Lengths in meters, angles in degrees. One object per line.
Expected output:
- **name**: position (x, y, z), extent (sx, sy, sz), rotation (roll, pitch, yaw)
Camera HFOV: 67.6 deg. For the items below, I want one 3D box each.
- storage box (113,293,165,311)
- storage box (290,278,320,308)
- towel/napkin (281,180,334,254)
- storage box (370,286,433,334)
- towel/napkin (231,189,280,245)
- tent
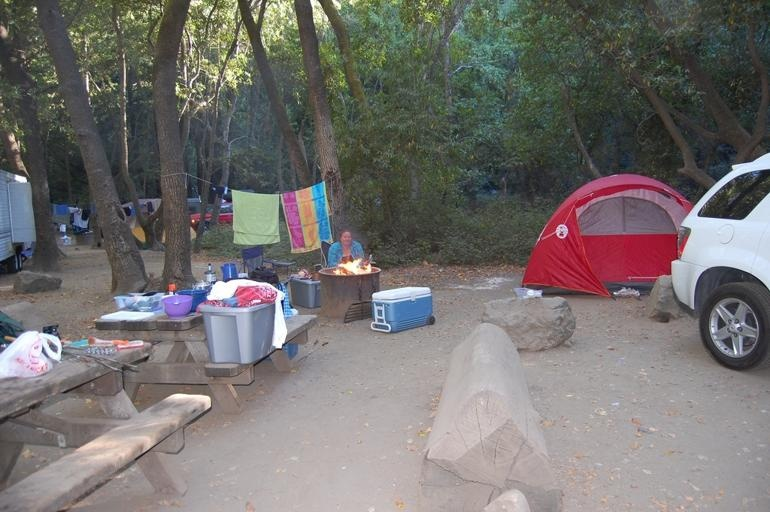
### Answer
- **storage box**: position (-3.433, 0.649, 8.002), extent (0.677, 0.237, 0.458), rotation (-7, 8, -4)
- **storage box**: position (-1.745, 0.768, 12.008), extent (0.697, 0.467, 0.482), rotation (7, 9, 44)
- **towel/napkin**: position (-2.297, -1.143, 16.927), extent (1.381, 2.001, 0.637), rotation (-3, 9, 16)
- **storage box**: position (0.340, 0.976, 10.791), extent (1.191, 0.722, 0.625), rotation (-7, 7, -39)
- **towel/napkin**: position (-4.148, -1.251, 18.385), extent (1.491, 1.795, 0.448), rotation (-8, 9, -16)
- **tent**: position (4.926, -0.473, 12.670), extent (3.234, 2.557, 1.386), rotation (-9, 9, -16)
